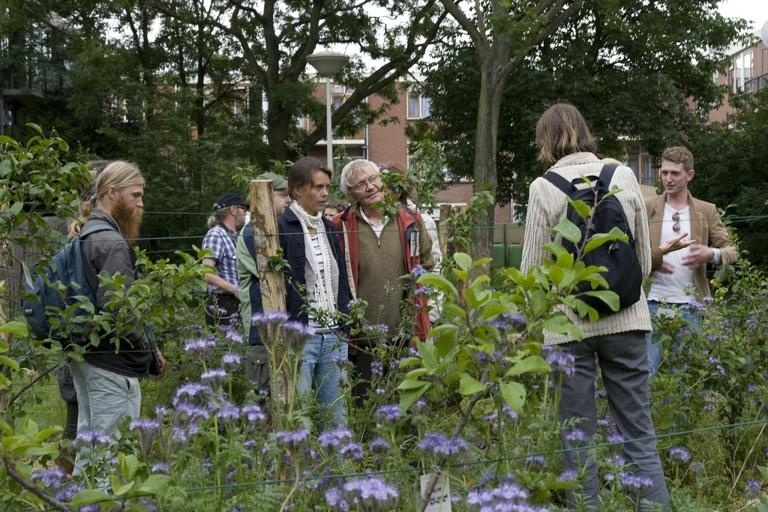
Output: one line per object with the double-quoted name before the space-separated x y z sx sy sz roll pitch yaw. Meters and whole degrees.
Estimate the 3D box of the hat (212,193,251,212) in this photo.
"hat" -1.709 -0.628 9.941 0.371 0.193 0.275 -6 5 -33

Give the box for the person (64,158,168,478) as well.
"person" -2.167 0.323 7.034 0.671 2.238 1.113 1 -2 -27

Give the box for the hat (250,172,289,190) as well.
"hat" -1.180 -0.794 9.169 0.352 0.147 0.252 2 1 -23
